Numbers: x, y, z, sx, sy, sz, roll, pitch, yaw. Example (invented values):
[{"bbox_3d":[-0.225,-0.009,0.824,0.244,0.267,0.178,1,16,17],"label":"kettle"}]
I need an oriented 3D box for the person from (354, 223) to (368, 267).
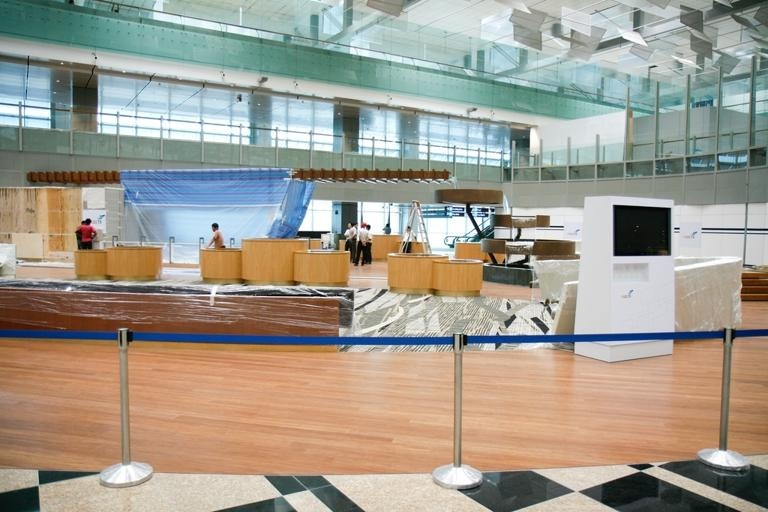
[{"bbox_3d":[-0.745,-0.394,20.099,0.499,1.444,0.872,-1,15,-3],"label":"person"}]

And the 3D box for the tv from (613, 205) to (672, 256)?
[{"bbox_3d":[3.730,-0.359,8.936,1.458,0.874,0.143,0,2,-31],"label":"tv"}]

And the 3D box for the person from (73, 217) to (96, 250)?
[{"bbox_3d":[-8.048,-0.590,16.532,0.467,0.753,0.476,-7,17,-22],"label":"person"}]
